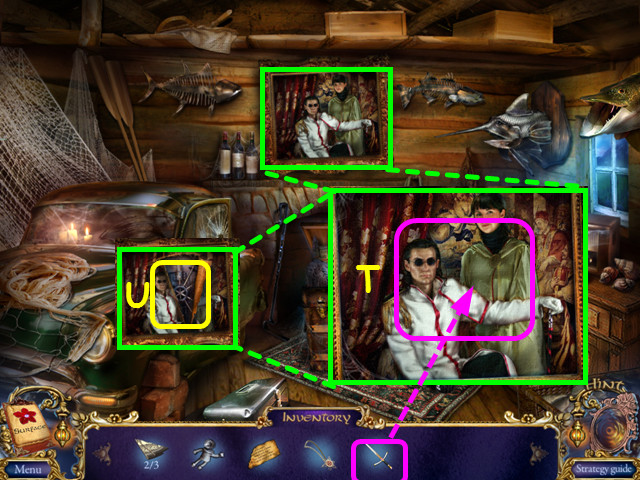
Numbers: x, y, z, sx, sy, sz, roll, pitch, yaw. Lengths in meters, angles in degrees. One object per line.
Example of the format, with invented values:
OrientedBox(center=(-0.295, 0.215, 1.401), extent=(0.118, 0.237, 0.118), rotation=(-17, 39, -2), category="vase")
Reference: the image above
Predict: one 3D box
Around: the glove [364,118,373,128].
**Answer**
OrientedBox(center=(0.363, -0.894, 4.037), extent=(0.072, 0.057, 0.008), rotation=(0, -5, 3), category="glove")

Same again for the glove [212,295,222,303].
OrientedBox(center=(-0.789, 0.448, 4.015), extent=(0.071, 0.058, 0.018), rotation=(1, -5, -5), category="glove")
